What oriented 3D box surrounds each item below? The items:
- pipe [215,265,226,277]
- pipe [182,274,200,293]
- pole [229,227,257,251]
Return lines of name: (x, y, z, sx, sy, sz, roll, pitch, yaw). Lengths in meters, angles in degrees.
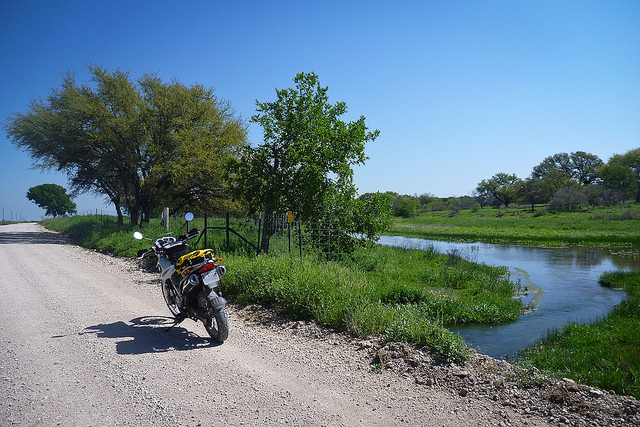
pipe: (-2.442, 1.378, 10.959, 0.254, 0.187, 0.237, -63, -4, -49)
pipe: (-3.185, 1.730, 10.891, 0.518, 0.301, 0.185, -42, 17, 30)
pole: (-3.370, 1.137, 19.717, 0.102, 1.301, 0.127, -47, -1, 35)
